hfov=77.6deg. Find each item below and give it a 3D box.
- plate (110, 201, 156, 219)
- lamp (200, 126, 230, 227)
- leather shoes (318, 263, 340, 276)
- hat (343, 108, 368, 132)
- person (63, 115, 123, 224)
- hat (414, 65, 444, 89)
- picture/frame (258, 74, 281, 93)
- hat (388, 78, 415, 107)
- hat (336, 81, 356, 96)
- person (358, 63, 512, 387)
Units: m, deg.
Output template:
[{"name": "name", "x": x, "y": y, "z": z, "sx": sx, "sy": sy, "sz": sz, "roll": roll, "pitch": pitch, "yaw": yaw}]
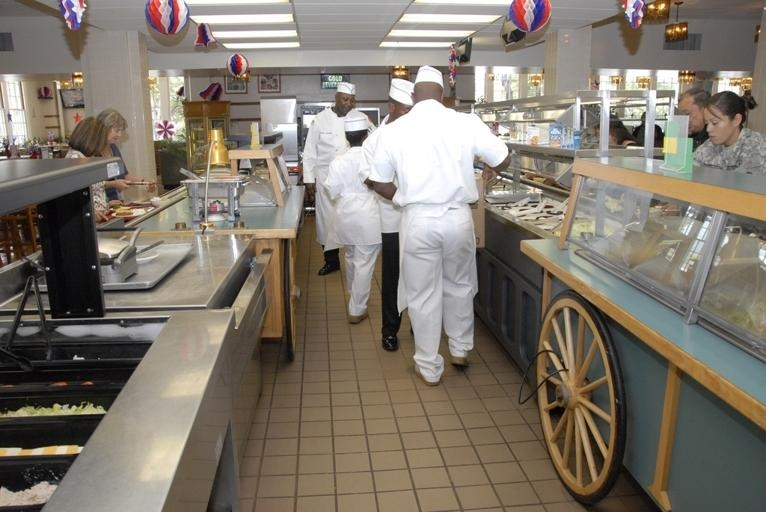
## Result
[{"name": "plate", "x": -2.188, "y": -0.404, "z": 4.181, "sx": 0.227, "sy": 0.026, "sz": 0.229, "roll": 9, "pitch": 19, "yaw": 14}, {"name": "lamp", "x": -1.383, "y": -0.697, "z": 3.942, "sx": 0.236, "sy": 0.679, "sz": 1.610, "roll": -7, "pitch": 17, "yaw": -16}, {"name": "leather shoes", "x": -0.651, "y": 0.163, "z": 5.874, "sx": 0.102, "sy": 0.122, "sz": 0.292, "roll": 4, "pitch": 3, "yaw": 41}, {"name": "hat", "x": -0.228, "y": -1.173, "z": 4.272, "sx": 0.278, "sy": 0.246, "sz": 0.380, "roll": -4, "pitch": 14, "yaw": -4}, {"name": "person", "x": -2.480, "y": -0.780, "z": 4.125, "sx": 0.387, "sy": 0.823, "sz": 2.024, "roll": -12, "pitch": 19, "yaw": -30}, {"name": "hat", "x": 0.325, "y": -1.223, "z": 3.322, "sx": 0.234, "sy": 0.191, "sz": 0.246, "roll": 6, "pitch": 20, "yaw": 5}, {"name": "picture/frame", "x": -2.862, "y": -4.435, "z": 12.146, "sx": 0.441, "sy": 0.379, "sz": 0.036, "roll": 3, "pitch": 25, "yaw": 11}, {"name": "hat", "x": 0.147, "y": -1.241, "z": 3.571, "sx": 0.175, "sy": 0.090, "sz": 0.237, "roll": 1, "pitch": 44, "yaw": -17}, {"name": "hat", "x": -0.398, "y": -1.844, "z": 5.249, "sx": 0.163, "sy": 0.153, "sz": 0.453, "roll": -2, "pitch": 17, "yaw": 1}, {"name": "person", "x": 0.418, "y": -0.206, "z": 3.458, "sx": 0.977, "sy": 2.111, "sz": 0.655, "roll": -5, "pitch": 18, "yaw": -7}]
